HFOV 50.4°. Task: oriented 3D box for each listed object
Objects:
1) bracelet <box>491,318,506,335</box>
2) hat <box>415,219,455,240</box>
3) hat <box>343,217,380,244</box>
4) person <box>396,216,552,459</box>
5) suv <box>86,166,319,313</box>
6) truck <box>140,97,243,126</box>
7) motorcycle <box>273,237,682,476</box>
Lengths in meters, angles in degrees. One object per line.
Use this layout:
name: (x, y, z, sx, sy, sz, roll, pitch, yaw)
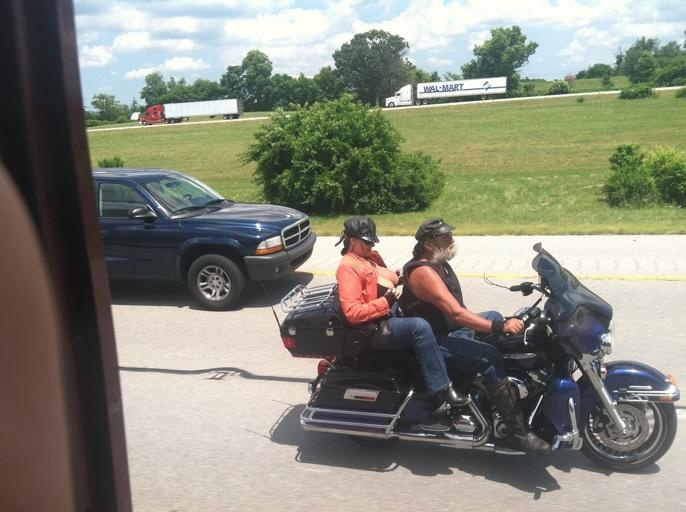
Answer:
bracelet: (1.044, 0.475, 4.920, 0.094, 0.099, 0.086, 4, 9, -17)
hat: (0.650, -0.199, 5.239, 0.229, 0.079, 0.164, -12, 9, 12)
hat: (0.130, -0.218, 5.628, 0.261, 0.148, 0.188, 10, 16, 10)
person: (1.004, 0.448, 5.496, 1.130, 1.344, 1.682, 2, 15, 12)
suv: (-1.964, -0.271, 10.226, 3.485, 1.335, 1.609, 0, 9, 13)
truck: (-14.567, -13.978, 70.762, 8.625, 2.071, 3.224, 0, 12, 9)
motorcycle: (1.162, 0.705, 5.685, 2.985, 1.567, 1.395, 2, 8, 13)
